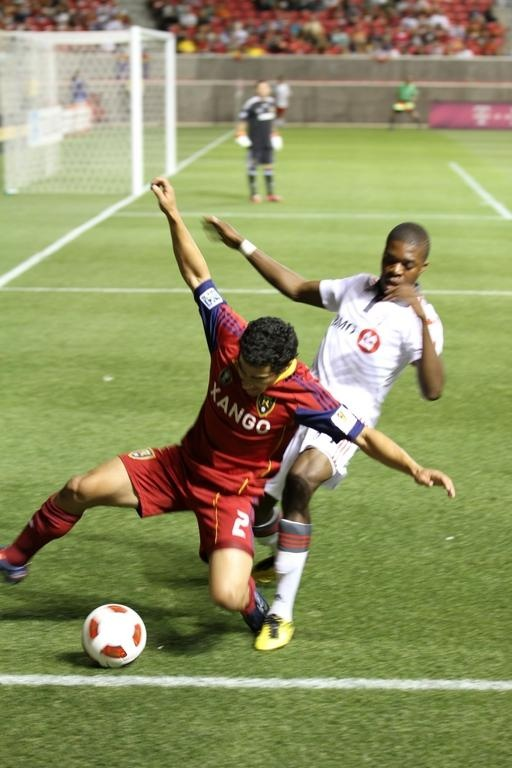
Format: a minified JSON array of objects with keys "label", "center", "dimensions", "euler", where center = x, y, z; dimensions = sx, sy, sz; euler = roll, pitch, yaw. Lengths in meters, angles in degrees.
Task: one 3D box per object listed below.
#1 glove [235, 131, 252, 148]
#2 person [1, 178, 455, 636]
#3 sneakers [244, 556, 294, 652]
[{"label":"glove","center":[-0.239,-4.245,13.875],"dimensions":[0.307,0.139,0.334],"euler":[-5,58,-9]},{"label":"person","center":[-0.124,0.279,2.579],"dimensions":[1.455,1.045,0.634],"euler":[7,17,19]},{"label":"sneakers","center":[0.052,0.749,2.692],"dimensions":[0.098,0.126,0.270],"euler":[-8,45,28]}]
